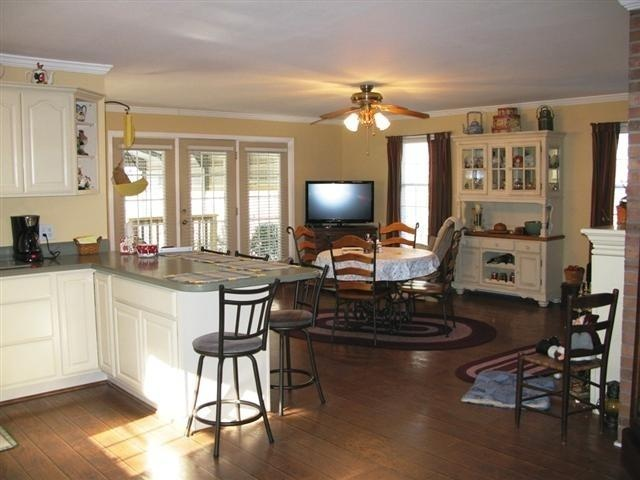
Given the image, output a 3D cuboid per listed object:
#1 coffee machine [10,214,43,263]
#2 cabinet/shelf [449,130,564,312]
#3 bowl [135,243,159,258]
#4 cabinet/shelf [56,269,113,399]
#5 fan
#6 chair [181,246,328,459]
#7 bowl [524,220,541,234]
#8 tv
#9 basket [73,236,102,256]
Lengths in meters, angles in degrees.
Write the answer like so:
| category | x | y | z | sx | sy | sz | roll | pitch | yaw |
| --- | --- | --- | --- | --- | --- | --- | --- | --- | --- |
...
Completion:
| category | x | y | z | sx | sy | sz | roll | pitch | yaw |
| --- | --- | --- | --- | --- | --- | --- | --- | --- | --- |
| coffee machine | -2.638 | -0.015 | 4.561 | 0.235 | 0.401 | 0.383 | -7 | 11 | -29 |
| cabinet/shelf | 2.797 | -0.346 | 7.555 | 1.512 | 2.426 | 0.702 | 8 | 13 | 42 |
| bowl | -1.631 | 0.091 | 4.808 | 0.185 | 0.134 | 0.194 | -1 | 8 | 0 |
| cabinet/shelf | -2.129 | 0.717 | 4.479 | 0.323 | 0.907 | 0.121 | -6 | 11 | -24 |
| fan | 0.665 | -1.747 | 6.540 | 1.205 | 0.343 | 1.058 | -1 | -3 | -3 |
| chair | -0.544 | 0.817 | 3.747 | 0.861 | 1.139 | 1.002 | 0 | 9 | 5 |
| bowl | 3.050 | -0.173 | 7.326 | 0.222 | 0.121 | 0.198 | 0 | -3 | 5 |
| tv | 0.327 | -0.642 | 8.954 | 1.120 | 0.618 | 0.265 | 1 | 0 | -2 |
| basket | -2.262 | 0.051 | 5.025 | 0.271 | 0.166 | 0.236 | -7 | 10 | -36 |
